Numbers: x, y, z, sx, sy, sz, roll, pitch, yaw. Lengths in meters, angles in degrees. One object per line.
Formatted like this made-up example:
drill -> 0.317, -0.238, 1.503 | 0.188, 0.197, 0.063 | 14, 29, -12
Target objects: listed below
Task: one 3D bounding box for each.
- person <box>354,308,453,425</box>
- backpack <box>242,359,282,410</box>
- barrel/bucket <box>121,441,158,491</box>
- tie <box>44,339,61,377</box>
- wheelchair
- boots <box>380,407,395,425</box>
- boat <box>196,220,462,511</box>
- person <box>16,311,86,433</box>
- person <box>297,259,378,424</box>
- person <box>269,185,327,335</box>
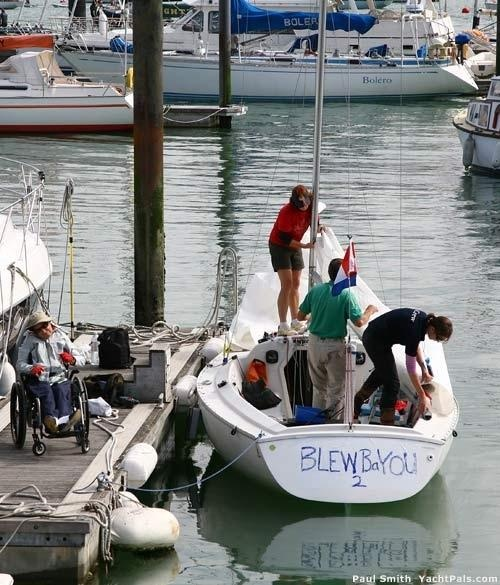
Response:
person -> 1.281, 0.643, 11.354 | 0.413, 1.039, 1.131 | -5, 10, -31
backpack -> 0.096, 0.866, 12.431 | 0.337, 0.431, 0.402 | -2, 11, -5
barrel/bucket -> -0.920, 1.453, 11.077 | 0.276, 0.343, 0.426 | 1, 8, 1
tie -> -1.665, 0.570, 11.435 | 0.093, 0.272, 0.194 | -3, -2, 43
wheelchair -> -1.638, 0.949, 11.128 | 0.656, 0.760, 0.638 | -1, 8, -10
boots -> 1.166, 1.059, 11.472 | 0.130, 0.139, 0.130 | 1, -3, 7
boat -> 0.720, 0.739, 12.655 | 1.986, 2.273, 4.172 | -3, 16, -10
person -> -1.601, 0.652, 11.204 | 0.565, 1.048, 0.553 | -11, 22, -31
person -> 0.771, 0.498, 11.905 | 0.757, 1.795, 0.592 | 22, 46, 25
person -> 0.515, -0.336, 13.862 | 0.669, 1.585, 0.742 | -1, 9, -3
